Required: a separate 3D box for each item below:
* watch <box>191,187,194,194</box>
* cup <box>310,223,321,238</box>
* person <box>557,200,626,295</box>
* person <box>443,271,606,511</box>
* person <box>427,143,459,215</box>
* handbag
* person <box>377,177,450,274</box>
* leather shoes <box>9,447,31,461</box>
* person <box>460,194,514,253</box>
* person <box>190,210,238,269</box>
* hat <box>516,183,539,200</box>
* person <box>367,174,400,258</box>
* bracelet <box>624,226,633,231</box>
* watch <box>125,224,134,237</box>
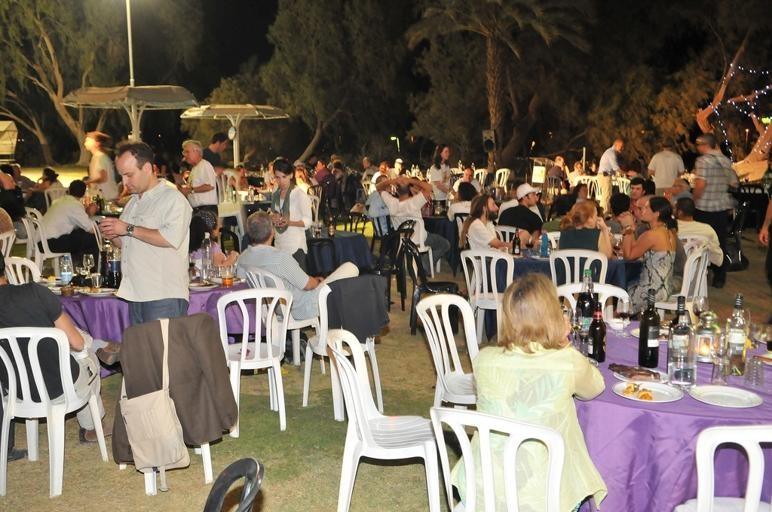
[{"bbox_3d":[-2.965,-0.996,11.699,0.048,0.083,0.081,-3,6,2],"label":"watch"},{"bbox_3d":[-1.051,-0.372,11.266,0.149,0.250,0.222,4,-3,-7],"label":"cup"},{"bbox_3d":[2.477,-0.064,9.437,0.986,1.340,0.882,-1,1,0],"label":"person"},{"bbox_3d":[1.113,1.050,5.769,1.138,1.824,0.455,2,3,12],"label":"person"},{"bbox_3d":[1.273,-1.360,16.713,0.588,2.090,0.610,-15,26,-35],"label":"person"},{"bbox_3d":[-1.951,1.442,6.442,0.435,0.699,0.266,-16,8,-4],"label":"handbag"},{"bbox_3d":[0.259,-0.634,12.857,0.830,1.804,0.909,22,37,26],"label":"person"},{"bbox_3d":[-3.457,1.858,7.174,0.163,0.084,0.075,0,2,27],"label":"leather shoes"},{"bbox_3d":[1.400,-0.340,10.171,0.507,0.919,0.690,18,-24,-29],"label":"person"},{"bbox_3d":[-2.317,-0.239,10.244,0.494,0.927,0.498,18,37,28],"label":"person"},{"bbox_3d":[2.126,-0.987,11.477,0.300,0.180,0.230,-22,11,6],"label":"hat"},{"bbox_3d":[-0.075,-0.631,13.175,0.642,1.587,0.729,-5,24,7],"label":"person"},{"bbox_3d":[3.052,-0.354,9.598,0.069,0.041,0.127,-36,-13,24],"label":"bracelet"},{"bbox_3d":[-2.408,-0.244,7.195,0.057,0.105,0.096,3,-17,-17],"label":"watch"}]
